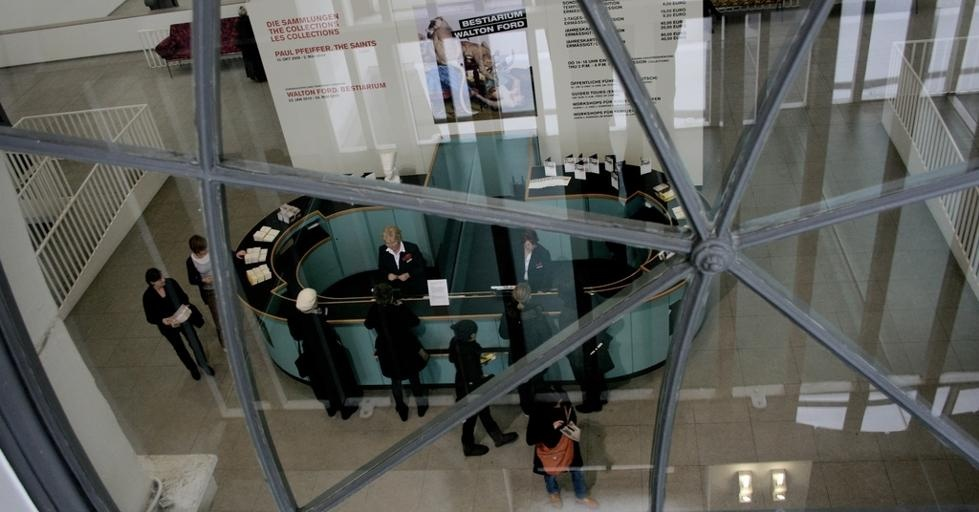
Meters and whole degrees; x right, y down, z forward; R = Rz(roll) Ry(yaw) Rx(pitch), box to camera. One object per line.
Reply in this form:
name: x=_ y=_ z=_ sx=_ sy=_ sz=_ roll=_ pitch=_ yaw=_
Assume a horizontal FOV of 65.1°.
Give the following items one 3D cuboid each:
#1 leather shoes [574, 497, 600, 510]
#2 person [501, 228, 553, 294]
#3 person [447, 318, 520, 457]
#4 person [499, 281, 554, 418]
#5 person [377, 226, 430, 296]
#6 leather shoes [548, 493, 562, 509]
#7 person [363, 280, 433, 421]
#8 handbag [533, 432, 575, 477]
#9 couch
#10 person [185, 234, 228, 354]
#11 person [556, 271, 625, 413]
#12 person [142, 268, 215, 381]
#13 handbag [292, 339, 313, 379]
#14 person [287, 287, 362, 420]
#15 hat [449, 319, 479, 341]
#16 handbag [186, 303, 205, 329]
leather shoes: x=1.670 y=4.273 z=13.249 sx=0.384 sy=0.171 sz=0.150 roll=10 pitch=-32 yaw=17
person: x=0.627 y=0.097 z=11.969 sx=0.697 sy=0.969 sz=0.488 roll=-3 pitch=-3 yaw=6
person: x=-0.110 y=2.042 z=12.493 sx=1.387 sy=2.398 sz=0.981 roll=-14 pitch=35 yaw=-5
person: x=0.568 y=1.362 z=12.367 sx=0.815 sy=1.851 sz=0.617 roll=-3 pitch=-3 yaw=0
person: x=-1.374 y=0.093 z=12.061 sx=0.735 sy=1.106 sz=0.423 roll=-3 pitch=-3 yaw=-7
leather shoes: x=1.137 y=4.221 z=13.248 sx=0.126 sy=0.326 sz=0.238 roll=-14 pitch=-31 yaw=-10
person: x=-1.498 y=1.554 z=12.463 sx=0.900 sy=2.241 sz=0.550 roll=-2 pitch=-3 yaw=-24
handbag: x=1.191 y=3.354 z=13.198 sx=0.539 sy=0.604 sz=0.345 roll=-15 pitch=9 yaw=12
couch: x=-3.864 y=-3.003 z=10.967 sx=1.636 sy=0.636 sz=0.542 roll=-9 pitch=39 yaw=-5
person: x=-4.393 y=0.529 z=11.770 sx=0.486 sy=1.691 sz=0.798 roll=-2 pitch=-3 yaw=-20
person: x=1.597 y=1.340 z=12.317 sx=0.732 sy=2.505 sz=1.099 roll=-4 pitch=-3 yaw=11
person: x=-4.948 y=1.126 z=12.347 sx=0.816 sy=1.992 sz=0.707 roll=-27 pitch=31 yaw=-22
handbag: x=-3.038 y=1.674 z=12.512 sx=0.432 sy=0.527 sz=0.212 roll=9 pitch=16 yaw=32
person: x=-2.699 y=1.609 z=12.572 sx=1.123 sy=2.193 sz=0.474 roll=-2 pitch=-3 yaw=-18
hat: x=-0.413 y=1.186 z=12.345 sx=0.447 sy=0.291 sz=0.304 roll=-15 pitch=-38 yaw=-15
handbag: x=-4.654 y=0.957 z=12.151 sx=0.383 sy=0.325 sz=0.086 roll=13 pitch=18 yaw=0
